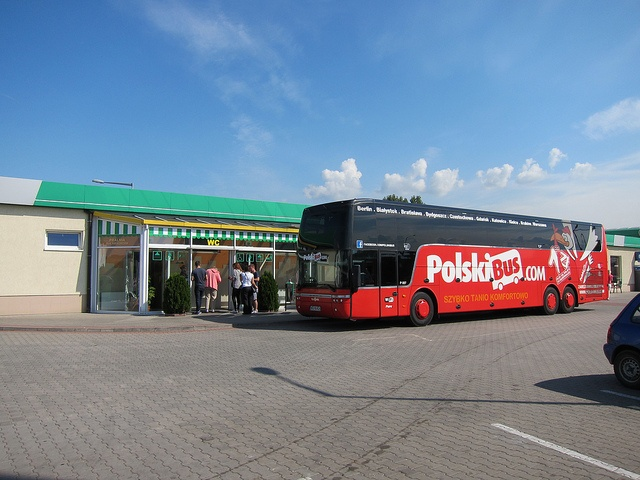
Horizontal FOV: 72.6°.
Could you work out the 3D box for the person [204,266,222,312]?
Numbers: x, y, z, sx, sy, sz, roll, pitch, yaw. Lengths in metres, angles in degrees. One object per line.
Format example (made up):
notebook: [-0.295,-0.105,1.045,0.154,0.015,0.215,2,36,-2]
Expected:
person: [-5.214,2.390,21.260,0.678,2.142,1.357,1,-3,-15]

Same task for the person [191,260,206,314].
person: [-5.543,2.151,20.115,0.591,2.390,0.766,1,-3,-16]

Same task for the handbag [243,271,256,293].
handbag: [-3.174,1.857,20.112,0.436,1.054,1.150,0,-3,17]

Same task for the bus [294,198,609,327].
bus: [8.508,0.909,21.691,20.685,6.158,5.351,5,-8,-36]
